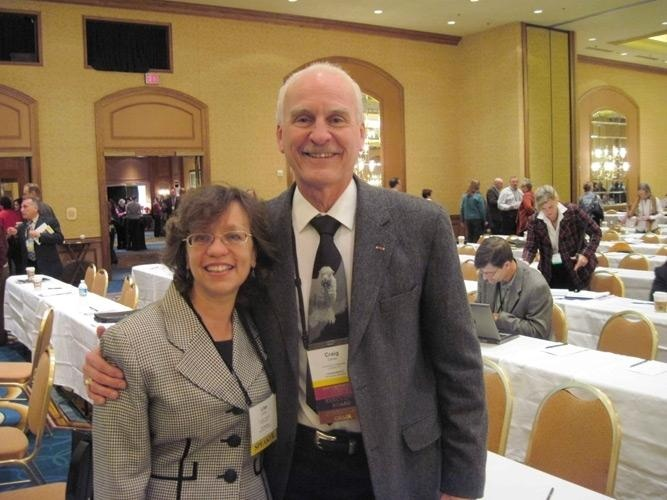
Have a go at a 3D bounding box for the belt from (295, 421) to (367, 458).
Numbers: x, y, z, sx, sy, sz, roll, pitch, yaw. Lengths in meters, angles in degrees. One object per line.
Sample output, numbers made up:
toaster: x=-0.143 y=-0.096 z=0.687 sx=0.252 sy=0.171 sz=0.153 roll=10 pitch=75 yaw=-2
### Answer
belt: x=-0.013 y=0.496 z=1.351 sx=0.108 sy=0.043 sz=0.086 roll=6 pitch=-9 yaw=12

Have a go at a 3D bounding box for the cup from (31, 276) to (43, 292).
cup: x=-3.394 y=0.385 z=5.740 sx=0.116 sy=0.194 sz=0.120 roll=1 pitch=-6 yaw=0

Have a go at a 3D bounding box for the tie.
tie: x=-0.019 y=0.174 z=1.357 sx=0.124 sy=0.536 sz=0.151 roll=-2 pitch=6 yaw=-5
